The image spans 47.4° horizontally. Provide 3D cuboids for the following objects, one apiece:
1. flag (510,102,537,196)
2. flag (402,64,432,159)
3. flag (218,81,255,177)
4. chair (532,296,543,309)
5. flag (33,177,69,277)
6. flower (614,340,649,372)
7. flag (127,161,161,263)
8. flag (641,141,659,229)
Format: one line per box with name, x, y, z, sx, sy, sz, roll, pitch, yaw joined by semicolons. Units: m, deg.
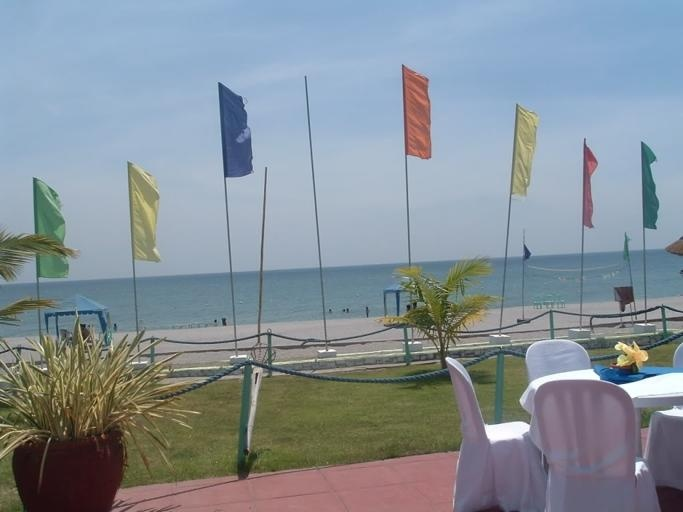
flag;4.185;-2.352;17.703;0.704;2.077;0.705;-2;-2;5
flag;1.677;-3.138;17.309;0.588;1.921;0.599;-2;-2;-1
flag;-2.312;-2.713;17.027;0.641;1.979;0.520;-2;-2;-8
chair;13.540;3.215;53.720;0.843;0.893;0.475;0;-4;0
flag;-6.205;-0.657;16.579;0.662;2.209;4.754;-1;-2;-20
flower;3.018;1.041;8.089;0.292;0.196;0.411;-3;-2;26
flag;-4.425;-0.942;17.498;0.620;2.156;0.445;-2;-2;-14
flag;7.926;-1.766;19.998;0.366;1.506;0.940;-3;-2;22
